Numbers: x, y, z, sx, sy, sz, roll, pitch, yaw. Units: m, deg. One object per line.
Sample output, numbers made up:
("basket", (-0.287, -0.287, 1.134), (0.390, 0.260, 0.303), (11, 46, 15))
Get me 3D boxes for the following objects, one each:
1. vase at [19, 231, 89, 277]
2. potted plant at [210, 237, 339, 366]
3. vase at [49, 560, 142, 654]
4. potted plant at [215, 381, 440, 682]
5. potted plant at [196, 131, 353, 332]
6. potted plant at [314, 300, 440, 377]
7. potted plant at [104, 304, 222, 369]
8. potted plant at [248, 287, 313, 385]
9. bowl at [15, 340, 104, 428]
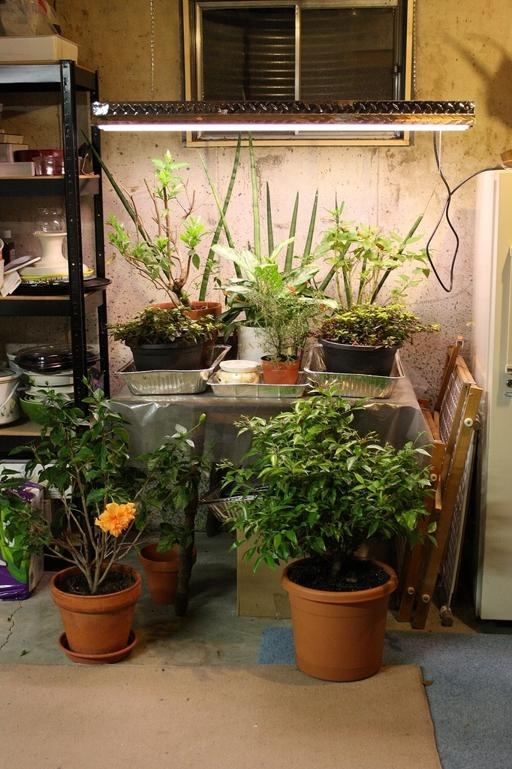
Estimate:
("vase", (-0.780, -0.490, 2.222), (0.215, 0.139, 0.219), (3, 12, 11))
("potted plant", (0.052, -0.296, 2.079), (0.542, 0.546, 0.435), (-1, 2, -12))
("vase", (-0.500, 0.689, 1.790), (0.256, 0.199, 0.258), (0, 9, -1))
("potted plant", (0.254, 0.443, 1.705), (0.539, 0.719, 0.430), (-4, -3, 8))
("potted plant", (0.142, -0.608, 2.276), (0.561, 0.668, 0.572), (-5, 34, -2))
("potted plant", (0.359, -0.159, 1.868), (0.273, 0.173, 0.259), (6, 10, 17))
("potted plant", (-0.340, -0.129, 1.928), (0.261, 0.170, 0.261), (-5, 10, -36))
("potted plant", (0.100, -0.166, 1.965), (0.177, 0.318, 0.241), (0, 3, -7))
("bowl", (-0.844, 0.003, 2.340), (0.369, 0.252, 0.368), (0, 5, 0))
